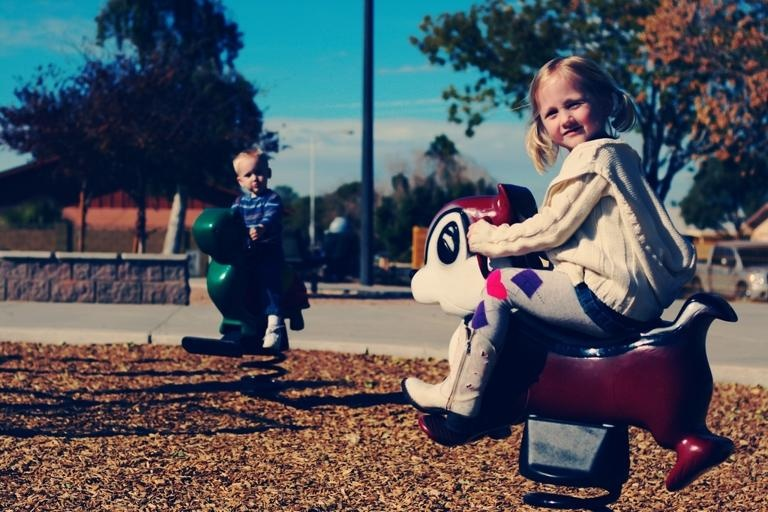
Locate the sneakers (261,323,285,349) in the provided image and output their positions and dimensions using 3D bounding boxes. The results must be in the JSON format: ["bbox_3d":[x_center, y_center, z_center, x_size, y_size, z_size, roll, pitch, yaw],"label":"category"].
[{"bbox_3d":[-1.142,0.849,15.395,0.192,0.245,0.253,1,-9,-8],"label":"sneakers"}]

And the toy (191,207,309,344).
[{"bbox_3d":[-1.473,0.325,15.560,0.455,1.467,1.497,-2,-4,22],"label":"toy"}]
